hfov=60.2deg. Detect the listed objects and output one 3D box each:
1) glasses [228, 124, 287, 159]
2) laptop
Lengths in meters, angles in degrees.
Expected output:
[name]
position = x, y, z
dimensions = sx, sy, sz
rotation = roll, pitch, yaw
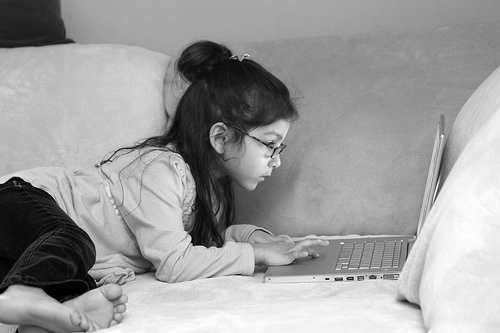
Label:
[glasses]
position = 0.022, -0.078, 1.395
dimensions = 0.134, 0.041, 0.129
rotation = 30, 1, 5
[laptop]
position = 0.291, 0.029, 1.341
dimensions = 0.490, 0.418, 0.583
rotation = 0, 4, 13
